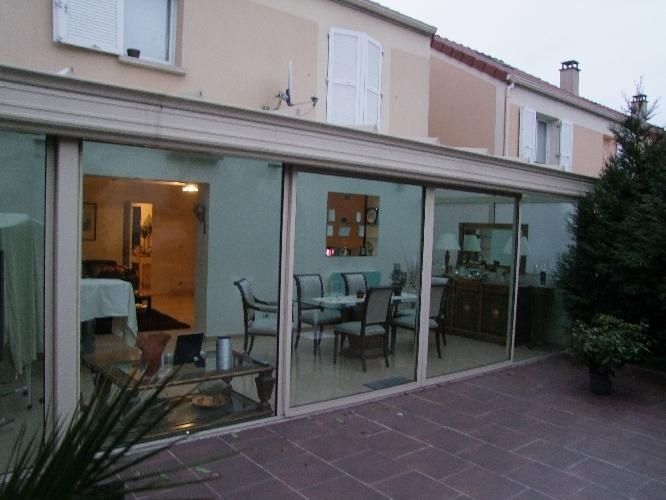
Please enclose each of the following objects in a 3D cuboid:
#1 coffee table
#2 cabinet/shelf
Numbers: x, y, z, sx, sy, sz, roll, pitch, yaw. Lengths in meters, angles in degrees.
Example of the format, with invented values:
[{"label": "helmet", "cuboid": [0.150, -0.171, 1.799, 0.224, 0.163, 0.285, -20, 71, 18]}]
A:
[{"label": "coffee table", "cuboid": [-1.112, 1.134, 4.367, 1.175, 0.473, 0.737, -2, 7, -43]}, {"label": "cabinet/shelf", "cuboid": [2.146, 0.856, 8.080, 0.604, 0.938, 1.412, 1, 2, -18]}]
